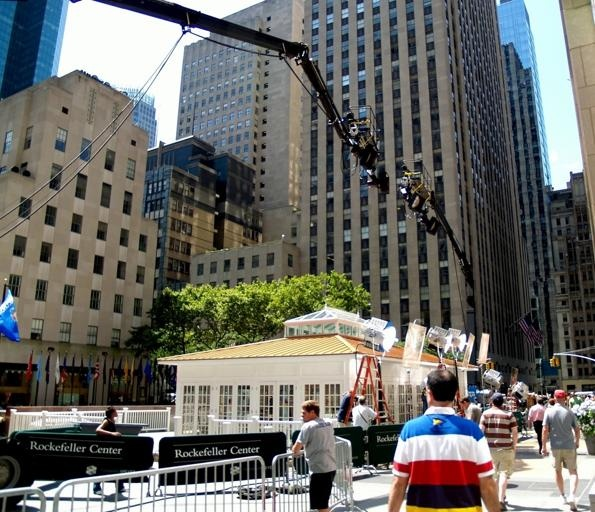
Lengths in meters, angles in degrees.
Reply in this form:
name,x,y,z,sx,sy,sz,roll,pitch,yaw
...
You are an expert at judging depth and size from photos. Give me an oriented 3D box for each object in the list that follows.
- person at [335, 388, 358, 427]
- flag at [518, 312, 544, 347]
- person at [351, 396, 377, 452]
name,x,y,z,sx,sy,sz,roll,pitch,yaw
person,1.507,4.835,16.806,0.511,1.607,0.435,3,15,6
flag,21.046,6.526,49.109,1.435,3.239,4.694,-7,-15,25
person,1.960,4.876,16.011,0.656,1.447,0.942,-3,-14,7
